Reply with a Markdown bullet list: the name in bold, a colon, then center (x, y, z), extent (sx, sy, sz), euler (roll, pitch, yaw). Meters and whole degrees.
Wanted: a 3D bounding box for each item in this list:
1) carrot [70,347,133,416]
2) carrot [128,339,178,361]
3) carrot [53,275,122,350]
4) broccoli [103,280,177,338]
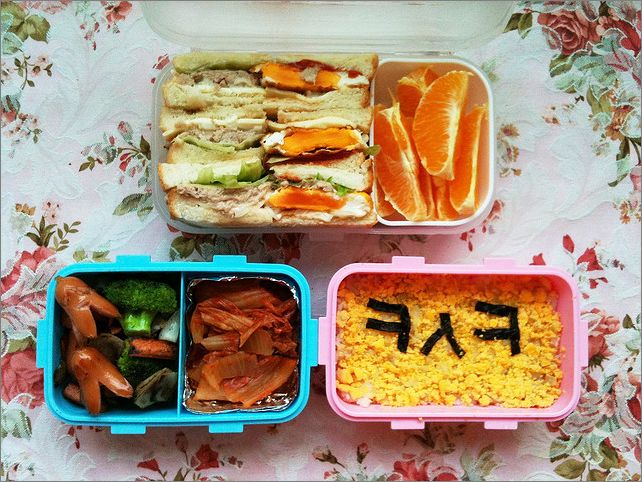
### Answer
- **carrot**: center (-0.754, 0.470, 2.044), extent (0.222, 0.062, 0.161), euler (49, 58, 1)
- **carrot**: center (-0.569, 0.372, 2.051), extent (0.141, 0.041, 0.069), euler (9, 80, -24)
- **carrot**: center (-0.805, 0.224, 2.069), extent (0.228, 0.064, 0.159), euler (55, 36, -1)
- **broccoli**: center (-0.637, 0.226, 2.143), extent (0.237, 0.205, 0.190), euler (7, 89, 2)
